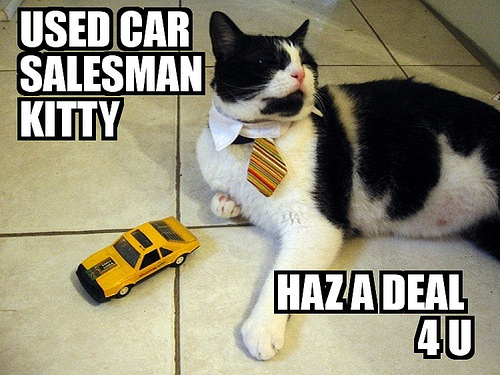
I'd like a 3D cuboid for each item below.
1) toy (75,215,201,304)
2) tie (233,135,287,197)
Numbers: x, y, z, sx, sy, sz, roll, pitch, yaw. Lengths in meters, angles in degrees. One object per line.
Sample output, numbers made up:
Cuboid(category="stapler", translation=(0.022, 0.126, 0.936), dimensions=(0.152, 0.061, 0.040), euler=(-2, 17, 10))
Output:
Cuboid(category="toy", translation=(-0.434, 0.264, 2.444), dimensions=(0.472, 0.136, 0.256), euler=(-30, 62, -21))
Cuboid(category="tie", translation=(0.064, -0.106, 2.423), dimensions=(0.186, 0.306, 0.005), euler=(35, 57, 21))
